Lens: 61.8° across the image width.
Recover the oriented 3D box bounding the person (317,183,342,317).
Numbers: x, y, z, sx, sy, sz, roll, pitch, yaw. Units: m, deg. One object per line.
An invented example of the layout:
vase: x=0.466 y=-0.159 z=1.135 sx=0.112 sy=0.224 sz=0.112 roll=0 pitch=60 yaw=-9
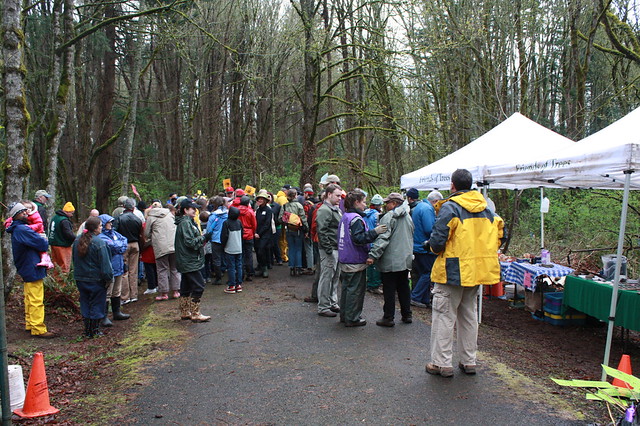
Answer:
person: x=0.216 y=0.894 z=12.879 sx=0.581 sy=3.131 sz=0.836 roll=0 pitch=15 yaw=0

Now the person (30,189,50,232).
person: x=-7.132 y=-0.037 z=13.698 sx=0.452 sy=1.374 sz=0.650 roll=-2 pitch=29 yaw=-37

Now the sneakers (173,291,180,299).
sneakers: x=-3.955 y=2.275 z=14.767 sx=0.118 sy=0.254 sz=0.354 roll=6 pitch=-22 yaw=-25

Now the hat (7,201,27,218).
hat: x=-6.741 y=-0.051 z=11.964 sx=0.375 sy=0.384 sz=0.360 roll=-6 pitch=16 yaw=-21

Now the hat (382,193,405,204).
hat: x=1.762 y=-0.342 z=12.728 sx=0.378 sy=0.178 sz=0.247 roll=-1 pitch=-3 yaw=24

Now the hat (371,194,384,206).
hat: x=1.548 y=-0.377 z=14.345 sx=0.245 sy=0.205 sz=0.349 roll=11 pitch=22 yaw=23

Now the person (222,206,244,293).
person: x=-2.437 y=1.068 z=14.914 sx=0.564 sy=2.349 sz=0.837 roll=-3 pitch=15 yaw=-11

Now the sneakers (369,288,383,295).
sneakers: x=1.594 y=2.250 z=15.159 sx=0.370 sy=0.185 sz=0.140 roll=-6 pitch=-8 yaw=29

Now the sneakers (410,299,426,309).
sneakers: x=2.509 y=2.346 z=13.745 sx=0.495 sy=0.214 sz=0.169 roll=10 pitch=-6 yaw=4

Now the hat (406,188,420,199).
hat: x=2.368 y=-0.481 z=13.622 sx=0.272 sy=0.223 sz=0.278 roll=2 pitch=10 yaw=16

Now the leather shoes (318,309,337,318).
leather shoes: x=0.170 y=2.446 z=12.932 sx=0.454 sy=0.185 sz=0.176 roll=0 pitch=-4 yaw=13

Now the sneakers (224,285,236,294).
sneakers: x=-2.489 y=2.125 z=14.887 sx=0.391 sy=0.182 sz=0.257 roll=3 pitch=15 yaw=11

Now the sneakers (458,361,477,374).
sneakers: x=2.873 y=3.052 z=10.528 sx=0.145 sy=0.162 sz=0.372 roll=0 pitch=2 yaw=-5

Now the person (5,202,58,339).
person: x=-6.517 y=1.292 z=12.170 sx=0.710 sy=3.085 sz=0.895 roll=-11 pitch=18 yaw=-36

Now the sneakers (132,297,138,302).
sneakers: x=-5.056 y=2.386 z=14.620 sx=0.173 sy=0.116 sz=0.053 roll=1 pitch=-5 yaw=-37

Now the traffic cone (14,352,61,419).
traffic cone: x=-5.187 y=3.201 z=9.709 sx=0.588 sy=1.041 sz=0.564 roll=13 pitch=19 yaw=39

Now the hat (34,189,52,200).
hat: x=-7.346 y=-0.502 z=14.248 sx=0.359 sy=0.180 sz=0.263 roll=3 pitch=2 yaw=-38

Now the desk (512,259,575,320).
desk: x=5.598 y=1.862 z=13.392 sx=1.168 sy=1.078 sz=1.554 roll=-2 pitch=3 yaw=-7

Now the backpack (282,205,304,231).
backpack: x=-0.787 y=0.138 z=16.089 sx=0.571 sy=0.376 sz=0.669 roll=-10 pitch=46 yaw=0

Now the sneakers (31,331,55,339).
sneakers: x=-6.304 y=2.832 z=12.254 sx=0.491 sy=0.213 sz=0.167 roll=-1 pitch=5 yaw=-13

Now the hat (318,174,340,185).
hat: x=0.241 y=-0.885 z=13.817 sx=0.503 sy=0.356 sz=0.398 roll=-8 pitch=-6 yaw=30

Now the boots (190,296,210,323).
boots: x=-2.792 y=2.407 z=13.058 sx=0.651 sy=0.642 sz=0.324 roll=1 pitch=-4 yaw=-7

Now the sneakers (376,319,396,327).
sneakers: x=1.504 y=2.554 z=12.286 sx=0.415 sy=0.204 sz=0.168 roll=5 pitch=2 yaw=6

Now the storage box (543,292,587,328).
storage box: x=5.953 y=2.348 z=13.087 sx=0.816 sy=0.625 sz=0.824 roll=0 pitch=2 yaw=-15

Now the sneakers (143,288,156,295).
sneakers: x=-4.931 y=2.284 z=15.442 sx=0.452 sy=0.210 sz=0.163 roll=1 pitch=-9 yaw=-2

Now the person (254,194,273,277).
person: x=-1.737 y=0.670 z=16.647 sx=0.552 sy=2.754 sz=0.968 roll=-1 pitch=15 yaw=-5

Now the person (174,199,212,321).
person: x=-3.049 y=1.161 z=12.721 sx=0.688 sy=2.847 sz=0.897 roll=-4 pitch=15 yaw=-15

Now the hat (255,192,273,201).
hat: x=-1.723 y=-0.524 z=16.448 sx=0.347 sy=0.127 sz=0.340 roll=7 pitch=-7 yaw=-4

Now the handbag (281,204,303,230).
handbag: x=-0.837 y=0.237 z=16.221 sx=0.581 sy=0.769 sz=0.752 roll=-4 pitch=49 yaw=-3

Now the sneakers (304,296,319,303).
sneakers: x=-0.234 y=2.277 z=13.989 sx=0.395 sy=0.170 sz=0.135 roll=7 pitch=-5 yaw=2

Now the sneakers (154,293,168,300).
sneakers: x=-4.276 y=2.297 z=14.584 sx=0.320 sy=0.264 sz=0.154 roll=7 pitch=-1 yaw=24

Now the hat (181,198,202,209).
hat: x=-3.088 y=-0.204 z=12.835 sx=0.433 sy=0.243 sz=0.282 roll=0 pitch=4 yaw=-13

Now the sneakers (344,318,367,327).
sneakers: x=0.806 y=2.537 z=12.349 sx=0.543 sy=0.236 sz=0.184 roll=0 pitch=-2 yaw=-9

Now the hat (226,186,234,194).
hat: x=-3.227 y=-0.842 z=19.050 sx=0.278 sy=0.291 sz=0.374 roll=7 pitch=-6 yaw=1

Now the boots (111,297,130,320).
boots: x=-4.932 y=2.375 z=13.287 sx=0.420 sy=0.546 sz=0.403 roll=-6 pitch=16 yaw=-22
